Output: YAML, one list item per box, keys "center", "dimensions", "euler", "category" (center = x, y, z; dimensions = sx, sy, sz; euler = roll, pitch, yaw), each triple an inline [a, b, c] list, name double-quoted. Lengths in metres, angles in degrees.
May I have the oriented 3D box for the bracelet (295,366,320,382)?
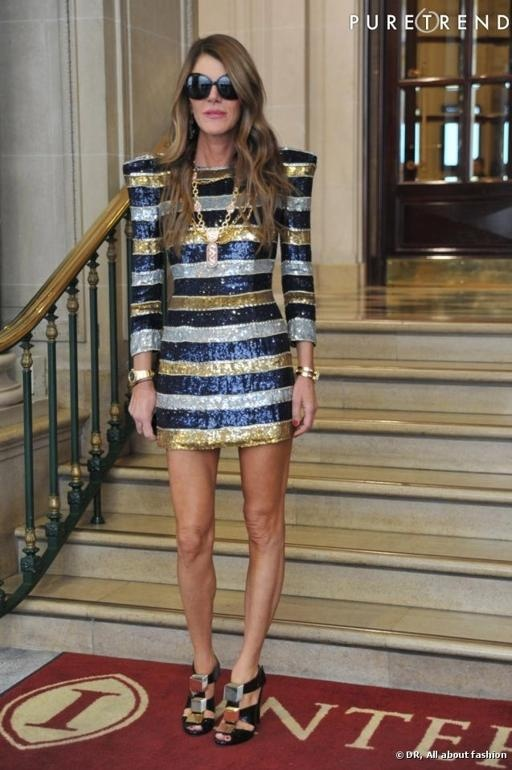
- center: [0.118, -0.027, 1.989]
  dimensions: [0.041, 0.024, 0.037]
  euler: [14, -2, 18]
  category: "bracelet"

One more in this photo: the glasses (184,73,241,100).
- center: [-0.099, -0.643, 1.850]
  dimensions: [0.118, 0.062, 0.054]
  euler: [-3, 7, 6]
  category: "glasses"

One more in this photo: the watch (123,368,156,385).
- center: [-0.269, -0.009, 1.978]
  dimensions: [0.051, 0.031, 0.049]
  euler: [3, -16, -23]
  category: "watch"

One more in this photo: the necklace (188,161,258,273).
- center: [-0.070, -0.364, 1.893]
  dimensions: [0.235, 0.305, 0.028]
  euler: [4, 9, 13]
  category: "necklace"

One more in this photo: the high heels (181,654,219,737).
- center: [-0.130, 0.771, 2.072]
  dimensions: [0.061, 0.085, 0.200]
  euler: [1, 6, 5]
  category: "high heels"

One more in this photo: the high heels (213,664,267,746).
- center: [-0.005, 0.770, 2.035]
  dimensions: [0.085, 0.130, 0.185]
  euler: [1, 1, 19]
  category: "high heels"

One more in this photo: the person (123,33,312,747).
- center: [-0.064, 0.035, 1.995]
  dimensions: [0.468, 1.617, 0.219]
  euler: [-4, 7, 5]
  category: "person"
